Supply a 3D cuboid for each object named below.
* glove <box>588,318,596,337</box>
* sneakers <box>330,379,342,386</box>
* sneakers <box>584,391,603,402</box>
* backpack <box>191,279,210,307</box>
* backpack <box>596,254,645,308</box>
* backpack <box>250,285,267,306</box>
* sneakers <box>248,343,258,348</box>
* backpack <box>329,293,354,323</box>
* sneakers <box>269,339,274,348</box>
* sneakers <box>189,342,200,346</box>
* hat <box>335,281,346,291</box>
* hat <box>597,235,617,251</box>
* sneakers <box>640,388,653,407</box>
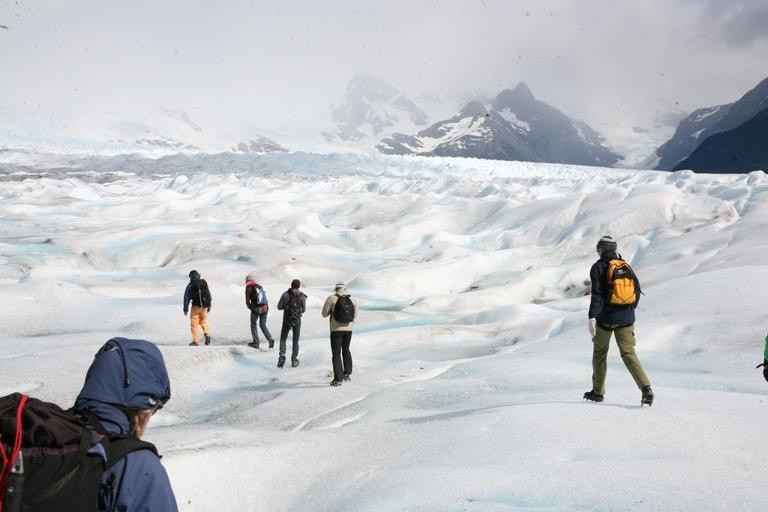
[{"bbox_3d":[2.732,0.939,8.109,0.103,0.203,0.180,2,-15,16],"label":"glove"},{"bbox_3d":[-0.851,2.244,10.927,0.160,0.055,0.179,0,-4,-5],"label":"sneakers"},{"bbox_3d":[2.836,1.917,8.421,0.110,0.106,0.268,-3,5,-35],"label":"sneakers"},{"bbox_3d":[-3.861,0.799,13.029,0.273,0.548,0.409,-9,5,31],"label":"backpack"},{"bbox_3d":[3.110,0.331,8.056,0.468,0.666,0.280,-16,6,-41],"label":"backpack"},{"bbox_3d":[-2.706,0.838,13.402,0.176,0.373,0.375,-12,4,5],"label":"backpack"},{"bbox_3d":[-2.955,2.031,14.002,0.153,0.051,0.183,1,-1,27],"label":"sneakers"},{"bbox_3d":[-0.708,0.937,10.728,0.543,0.449,0.542,1,-4,-13],"label":"backpack"},{"bbox_3d":[-2.576,2.019,14.181,0.166,0.172,0.091,1,-9,1],"label":"sneakers"},{"bbox_3d":[-4.155,1.928,13.486,0.307,0.080,0.090,3,-5,-1],"label":"sneakers"},{"bbox_3d":[-0.747,0.530,10.899,0.230,0.132,0.260,1,-7,-16],"label":"hat"},{"bbox_3d":[3.046,-0.177,8.334,0.334,0.188,0.224,-6,11,-34],"label":"hat"},{"bbox_3d":[3.396,1.804,8.015,0.159,0.252,0.210,-10,5,18],"label":"sneakers"}]
